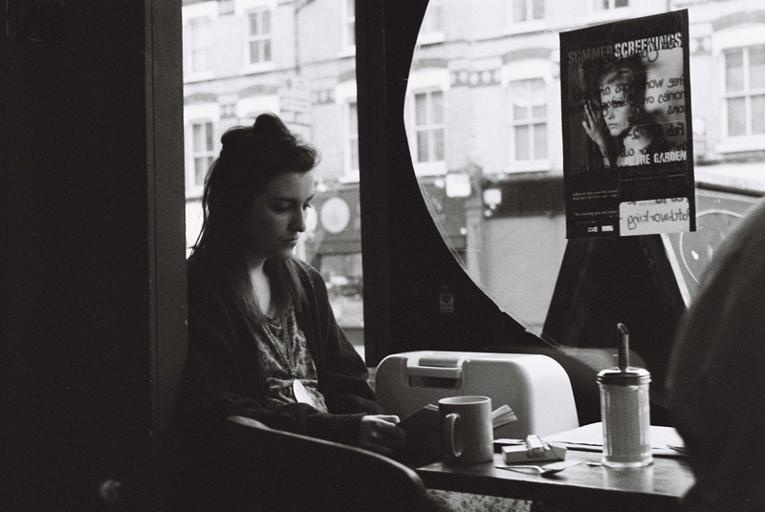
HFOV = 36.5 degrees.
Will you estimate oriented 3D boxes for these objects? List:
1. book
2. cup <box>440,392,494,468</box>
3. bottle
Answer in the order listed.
[{"bbox_3d":[0.129,0.294,2.056,0.096,0.115,0.161,-9,12,42],"label":"book"},{"bbox_3d":[0.139,0.307,2.008,0.076,0.111,0.125,-2,8,32],"label":"cup"},{"bbox_3d":[0.415,0.274,1.986,0.097,0.171,0.099,-3,5,0],"label":"bottle"}]
